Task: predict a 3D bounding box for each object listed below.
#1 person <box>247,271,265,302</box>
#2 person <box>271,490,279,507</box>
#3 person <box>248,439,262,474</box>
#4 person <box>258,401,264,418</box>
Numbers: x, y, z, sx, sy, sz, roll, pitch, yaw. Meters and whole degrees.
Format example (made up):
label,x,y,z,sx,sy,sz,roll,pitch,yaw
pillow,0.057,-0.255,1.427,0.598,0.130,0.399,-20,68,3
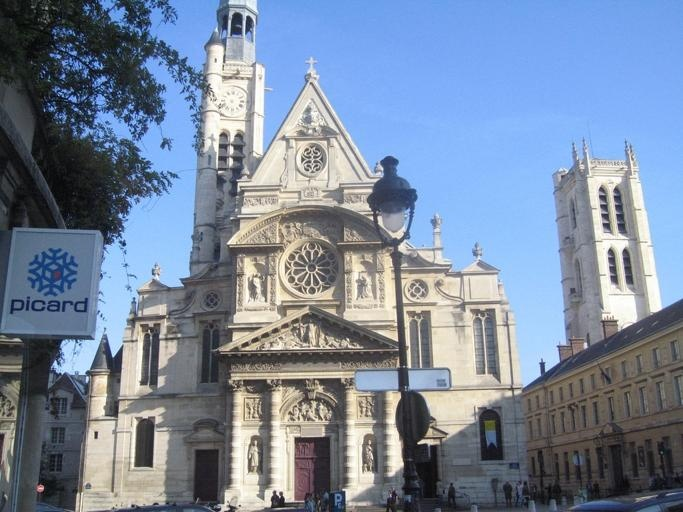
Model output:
label,x,y,z,sx,sy,sz,roll,pitch,yaw
person,-4.864,1.794,44.850,0.992,1.737,0.237,1,-21,-4
person,-3.402,12.533,40.119,0.390,0.857,0.480,10,-24,-25
person,-4.642,10.698,41.961,0.764,1.851,0.272,3,-22,-10
person,-4.385,8.400,42.465,0.343,0.951,0.173,3,-22,-8
